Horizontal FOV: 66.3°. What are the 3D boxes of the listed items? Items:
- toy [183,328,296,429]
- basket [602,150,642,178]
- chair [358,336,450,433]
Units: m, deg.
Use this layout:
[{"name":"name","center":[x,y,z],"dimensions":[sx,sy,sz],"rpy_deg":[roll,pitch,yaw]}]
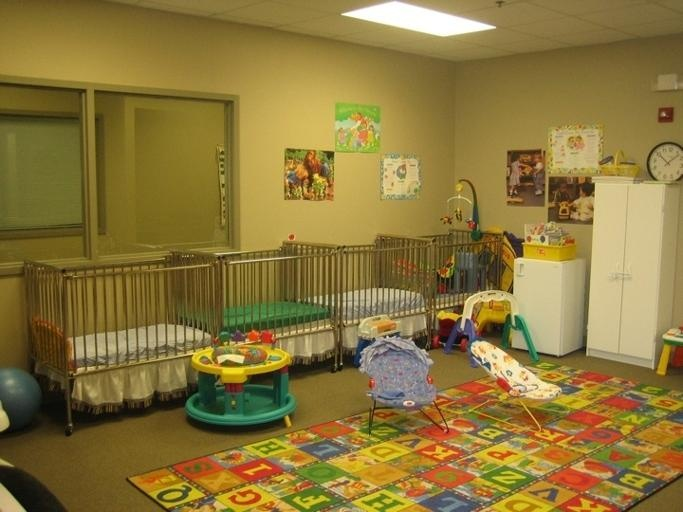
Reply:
[{"name":"toy","center":[-0.819,0.983,4.150],"dimensions":[0.772,0.617,0.779],"rpy_deg":[0,3,8]},{"name":"basket","center":[3.018,-0.950,5.657],"dimensions":[0.346,0.306,0.382],"rpy_deg":[-1,1,18]},{"name":"chair","center":[0.454,1.001,4.047],"dimensions":[0.608,0.494,0.767],"rpy_deg":[-3,16,1]}]
